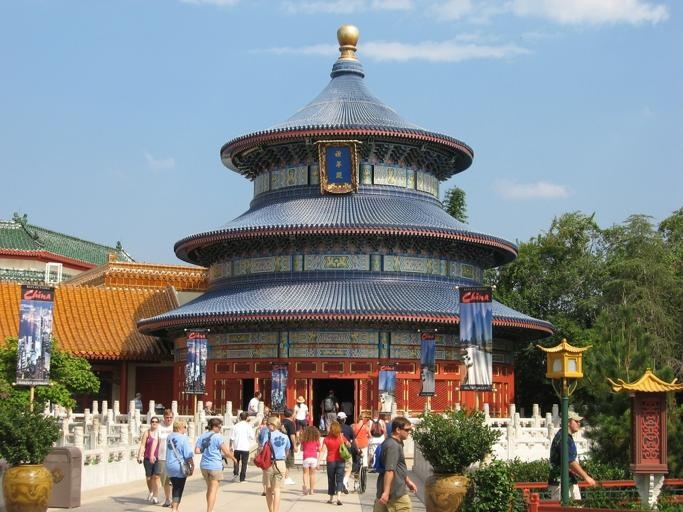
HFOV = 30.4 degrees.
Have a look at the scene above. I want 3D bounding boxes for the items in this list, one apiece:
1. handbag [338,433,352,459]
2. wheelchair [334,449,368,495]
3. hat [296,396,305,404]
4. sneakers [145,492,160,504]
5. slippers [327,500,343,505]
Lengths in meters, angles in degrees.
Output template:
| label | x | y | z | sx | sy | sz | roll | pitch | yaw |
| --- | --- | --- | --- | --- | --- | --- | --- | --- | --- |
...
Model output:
| label | x | y | z | sx | sy | sz | roll | pitch | yaw |
| --- | --- | --- | --- | --- | --- | --- | --- | --- | --- |
| handbag | 0.076 | 5.866 | 38.524 | 0.379 | 0.966 | 0.744 | -5 | -17 | -11 |
| wheelchair | 0.308 | 6.968 | 40.956 | 0.870 | 1.059 | 1.759 | 0 | -3 | 0 |
| hat | -1.552 | 5.501 | 47.553 | 0.378 | 0.143 | 0.379 | 1 | -2 | 3 |
| sneakers | -5.615 | 7.240 | 37.459 | 0.179 | 0.239 | 0.582 | 1 | 3 | -3 |
| slippers | -0.186 | 7.483 | 38.106 | 0.467 | 0.224 | 0.642 | 0 | -12 | -1 |
